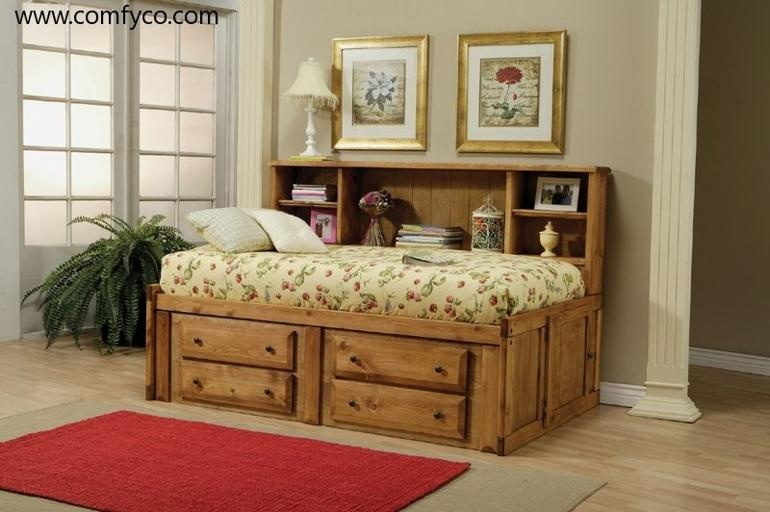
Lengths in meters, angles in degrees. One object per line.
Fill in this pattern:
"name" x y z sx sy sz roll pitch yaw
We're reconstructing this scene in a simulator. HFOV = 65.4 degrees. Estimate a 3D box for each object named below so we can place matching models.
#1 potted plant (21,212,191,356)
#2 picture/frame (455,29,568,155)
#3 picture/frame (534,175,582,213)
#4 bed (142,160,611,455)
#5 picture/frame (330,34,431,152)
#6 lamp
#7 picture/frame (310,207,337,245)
"potted plant" -2.050 0.169 4.895 1.289 0.839 1.241 0 2 4
"picture/frame" 0.882 -1.120 4.022 0.940 0.912 0.046 2 5 13
"picture/frame" 1.126 -0.393 3.875 0.279 0.217 0.019 4 -16 22
"bed" -0.070 0.222 3.865 2.499 1.427 1.487 1 3 36
"picture/frame" 0.003 -1.204 4.335 0.952 0.931 0.069 2 5 22
"lamp" -0.540 -1.108 4.459 0.497 0.675 0.483 -5 12 -31
"picture/frame" -0.431 -0.206 4.314 0.287 0.304 0.041 3 5 29
